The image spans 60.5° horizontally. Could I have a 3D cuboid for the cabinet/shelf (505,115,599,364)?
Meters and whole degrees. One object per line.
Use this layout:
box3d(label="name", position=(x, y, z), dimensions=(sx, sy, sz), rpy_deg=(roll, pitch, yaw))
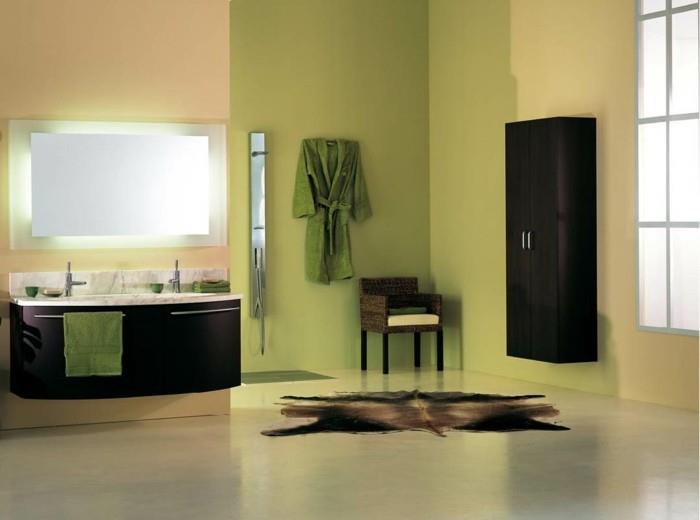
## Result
box3d(label="cabinet/shelf", position=(2.056, -0.194, 6.186), dimensions=(0.490, 2.423, 0.848), rpy_deg=(-2, 2, -23))

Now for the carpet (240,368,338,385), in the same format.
box3d(label="carpet", position=(-0.751, 1.339, 6.909), dimensions=(0.998, 0.036, 0.707), rpy_deg=(0, -1, -17))

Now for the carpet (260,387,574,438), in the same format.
box3d(label="carpet", position=(0.589, 1.314, 5.197), dimensions=(2.454, 0.022, 1.466), rpy_deg=(0, -1, -2))

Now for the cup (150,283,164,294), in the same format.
box3d(label="cup", position=(-1.625, 0.240, 5.069), dimensions=(0.082, 0.062, 0.083), rpy_deg=(0, -2, 0))

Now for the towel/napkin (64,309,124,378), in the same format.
box3d(label="towel/napkin", position=(-1.945, 0.630, 4.495), dimensions=(0.472, 0.546, 0.076), rpy_deg=(-1, -1, -11))

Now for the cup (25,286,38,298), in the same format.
box3d(label="cup", position=(-2.508, 0.252, 4.711), dimensions=(0.078, 0.065, 0.083), rpy_deg=(-1, -6, 0))

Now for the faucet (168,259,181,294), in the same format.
box3d(label="faucet", position=(-1.507, 0.140, 5.166), dimensions=(0.094, 0.265, 0.073), rpy_deg=(-1, -1, 22))

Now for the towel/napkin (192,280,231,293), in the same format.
box3d(label="towel/napkin", position=(-1.187, 0.225, 5.118), dimensions=(0.305, 0.107, 0.266), rpy_deg=(0, -1, -16))

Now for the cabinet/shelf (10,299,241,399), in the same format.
box3d(label="cabinet/shelf", position=(-1.739, 0.687, 4.854), dimensions=(1.810, 0.741, 0.615), rpy_deg=(2, 4, -24))

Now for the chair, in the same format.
box3d(label="chair", position=(0.634, 0.801, 7.364), dimensions=(0.818, 1.153, 0.803), rpy_deg=(0, -3, -18))

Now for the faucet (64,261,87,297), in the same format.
box3d(label="faucet", position=(-2.270, 0.149, 4.946), dimensions=(0.159, 0.285, 0.102), rpy_deg=(0, -1, -27))
